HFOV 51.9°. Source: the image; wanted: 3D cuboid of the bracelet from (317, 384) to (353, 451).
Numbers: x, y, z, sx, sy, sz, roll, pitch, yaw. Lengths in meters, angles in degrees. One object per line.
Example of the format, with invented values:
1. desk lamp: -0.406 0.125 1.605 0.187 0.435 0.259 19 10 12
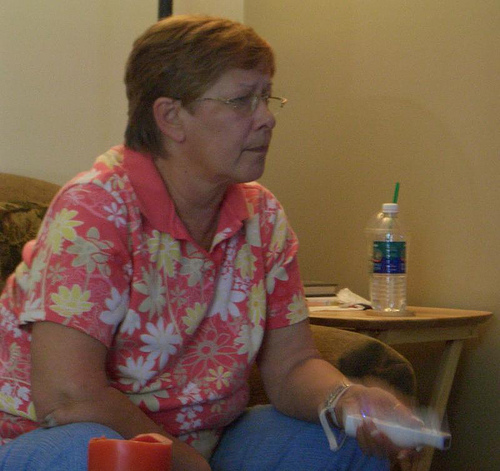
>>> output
1. bracelet: 0.140 0.306 0.870 0.059 0.112 0.054 1 10 21

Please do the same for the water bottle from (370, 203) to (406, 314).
1. water bottle: 0.397 0.066 1.435 0.128 0.308 0.109 3 7 -16
